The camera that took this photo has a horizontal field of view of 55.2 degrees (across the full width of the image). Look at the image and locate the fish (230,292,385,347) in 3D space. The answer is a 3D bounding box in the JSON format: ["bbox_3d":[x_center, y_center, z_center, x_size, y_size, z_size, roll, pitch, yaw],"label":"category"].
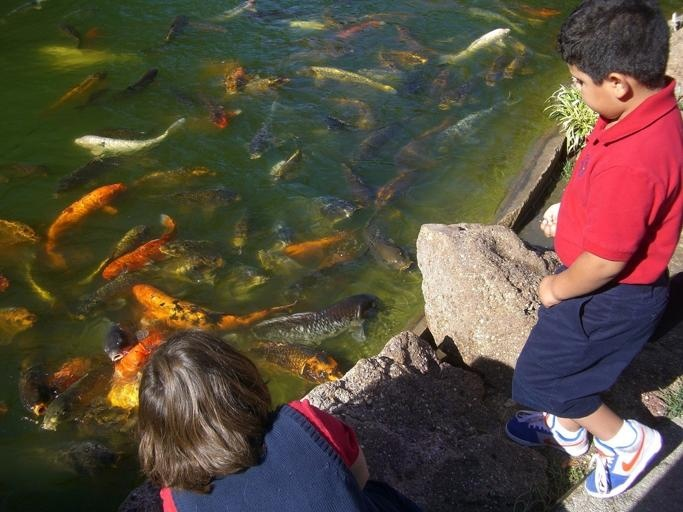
[{"bbox_3d":[-0.328,0.711,7.280,1.561,0.499,0.542,-10,44,-18],"label":"fish"}]

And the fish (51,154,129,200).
[{"bbox_3d":[-3.215,-1.050,8.552,0.993,0.306,0.380,-29,-6,-20],"label":"fish"}]

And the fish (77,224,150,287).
[{"bbox_3d":[-2.623,-0.095,7.849,0.299,0.304,1.182,19,49,44],"label":"fish"}]

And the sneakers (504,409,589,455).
[{"bbox_3d":[1.665,1.469,5.502,0.746,0.289,0.261,11,59,18],"label":"sneakers"}]

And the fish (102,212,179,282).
[{"bbox_3d":[-2.384,-0.089,7.787,1.009,0.387,0.409,-33,-7,-27],"label":"fish"}]

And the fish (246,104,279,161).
[{"bbox_3d":[-1.099,-1.734,9.286,0.265,0.074,0.862,15,41,0],"label":"fish"}]

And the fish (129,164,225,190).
[{"bbox_3d":[-2.196,-1.033,8.534,1.077,0.189,0.298,-16,27,-13],"label":"fish"}]

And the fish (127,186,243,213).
[{"bbox_3d":[-2.110,-0.728,8.470,1.697,0.375,0.559,-2,-9,-11],"label":"fish"}]

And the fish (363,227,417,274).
[{"bbox_3d":[0.528,-0.077,8.116,0.289,0.242,0.789,-42,54,-14],"label":"fish"}]

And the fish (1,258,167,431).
[{"bbox_3d":[-2.698,0.920,6.548,1.271,0.534,1.325,-13,53,1],"label":"fish"}]
